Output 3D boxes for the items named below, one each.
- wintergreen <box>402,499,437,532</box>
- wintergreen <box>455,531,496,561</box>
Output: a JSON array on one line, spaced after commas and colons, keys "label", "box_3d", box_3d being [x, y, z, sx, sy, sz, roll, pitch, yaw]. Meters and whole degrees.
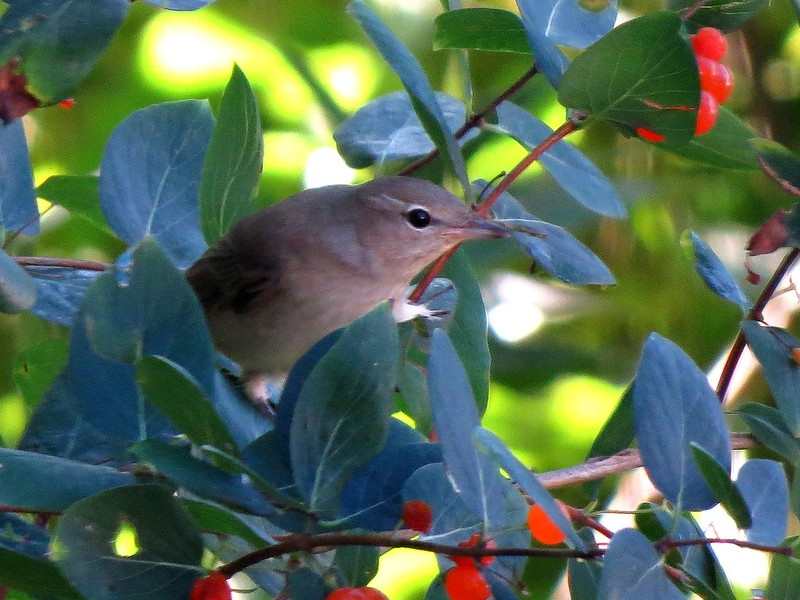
[{"label": "wintergreen", "box_3d": [0.028, 0.353, 2.107, 0.052, 0.043, 0.053, -2, -54, -2]}, {"label": "wintergreen", "box_3d": [0.122, 0.404, 2.116, 0.062, 0.051, 0.029, 14, -42, 10]}]
